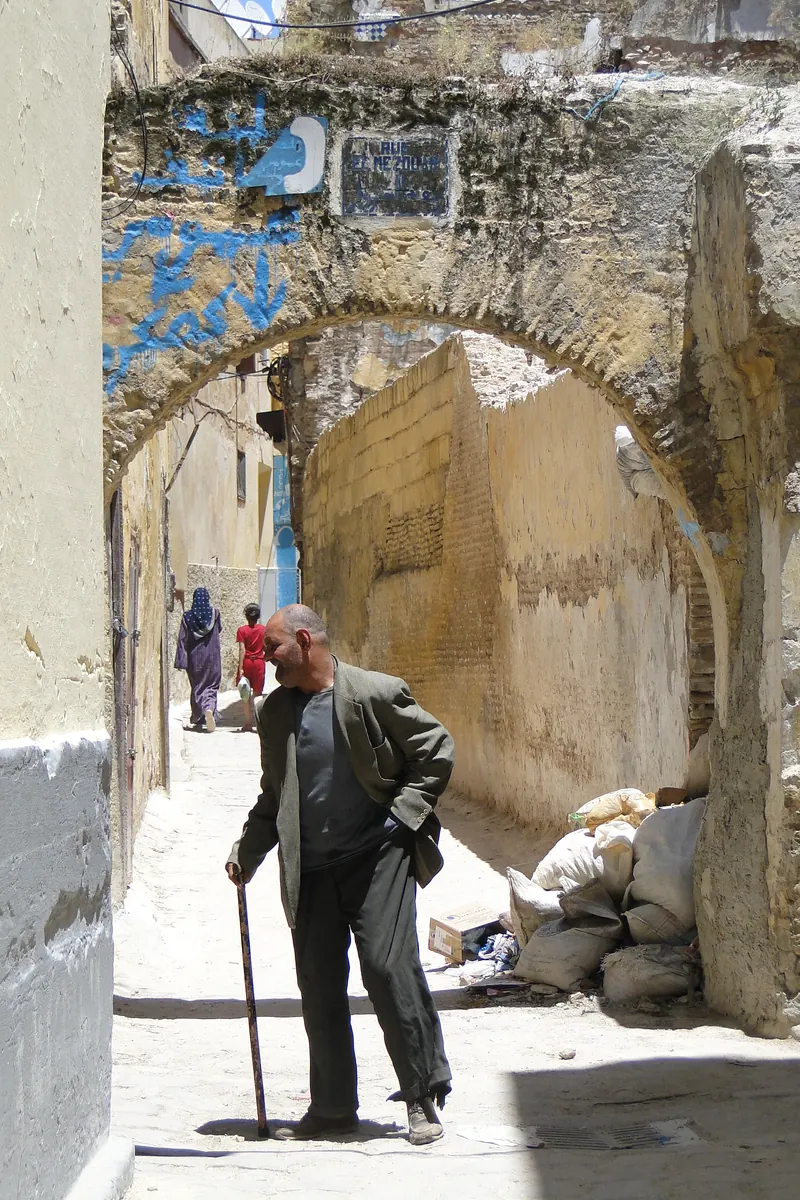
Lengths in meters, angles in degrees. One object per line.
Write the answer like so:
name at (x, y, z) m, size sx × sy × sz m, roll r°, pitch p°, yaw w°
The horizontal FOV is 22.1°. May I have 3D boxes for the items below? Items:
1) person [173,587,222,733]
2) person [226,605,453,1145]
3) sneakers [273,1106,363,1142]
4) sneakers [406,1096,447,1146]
person at (-1.694, 0.517, 17.166) m, size 0.367 × 1.209 × 1.108 m, roll -1°, pitch 3°, yaw -7°
person at (-0.158, 0.685, 5.262) m, size 0.586 × 1.334 × 0.475 m, roll 0°, pitch 3°, yaw 9°
sneakers at (-0.206, 1.340, 5.175) m, size 0.210 × 0.119 × 0.083 m, roll 4°, pitch -15°, yaw -3°
sneakers at (0.062, 1.290, 5.091) m, size 0.088 × 0.097 × 0.164 m, roll -1°, pitch 3°, yaw -1°
